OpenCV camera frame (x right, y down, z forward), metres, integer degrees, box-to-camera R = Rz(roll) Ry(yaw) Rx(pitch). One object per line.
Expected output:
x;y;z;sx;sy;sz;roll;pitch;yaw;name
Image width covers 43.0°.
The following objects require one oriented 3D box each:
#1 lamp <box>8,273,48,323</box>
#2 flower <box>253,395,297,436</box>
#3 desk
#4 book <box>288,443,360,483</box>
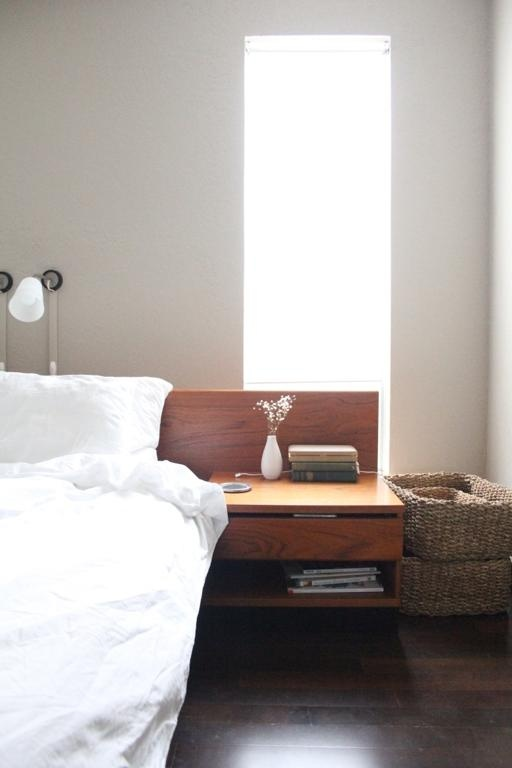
-0.771;-0.290;2.217;0.116;0.145;0.108;5;9;42;lamp
0.064;0.095;2.257;0.172;0.177;0.117;2;2;6;flower
0.139;0.488;1.989;0.567;0.340;0.330;0;6;2;desk
0.225;0.261;2.096;0.165;0.081;0.126;0;2;2;book
